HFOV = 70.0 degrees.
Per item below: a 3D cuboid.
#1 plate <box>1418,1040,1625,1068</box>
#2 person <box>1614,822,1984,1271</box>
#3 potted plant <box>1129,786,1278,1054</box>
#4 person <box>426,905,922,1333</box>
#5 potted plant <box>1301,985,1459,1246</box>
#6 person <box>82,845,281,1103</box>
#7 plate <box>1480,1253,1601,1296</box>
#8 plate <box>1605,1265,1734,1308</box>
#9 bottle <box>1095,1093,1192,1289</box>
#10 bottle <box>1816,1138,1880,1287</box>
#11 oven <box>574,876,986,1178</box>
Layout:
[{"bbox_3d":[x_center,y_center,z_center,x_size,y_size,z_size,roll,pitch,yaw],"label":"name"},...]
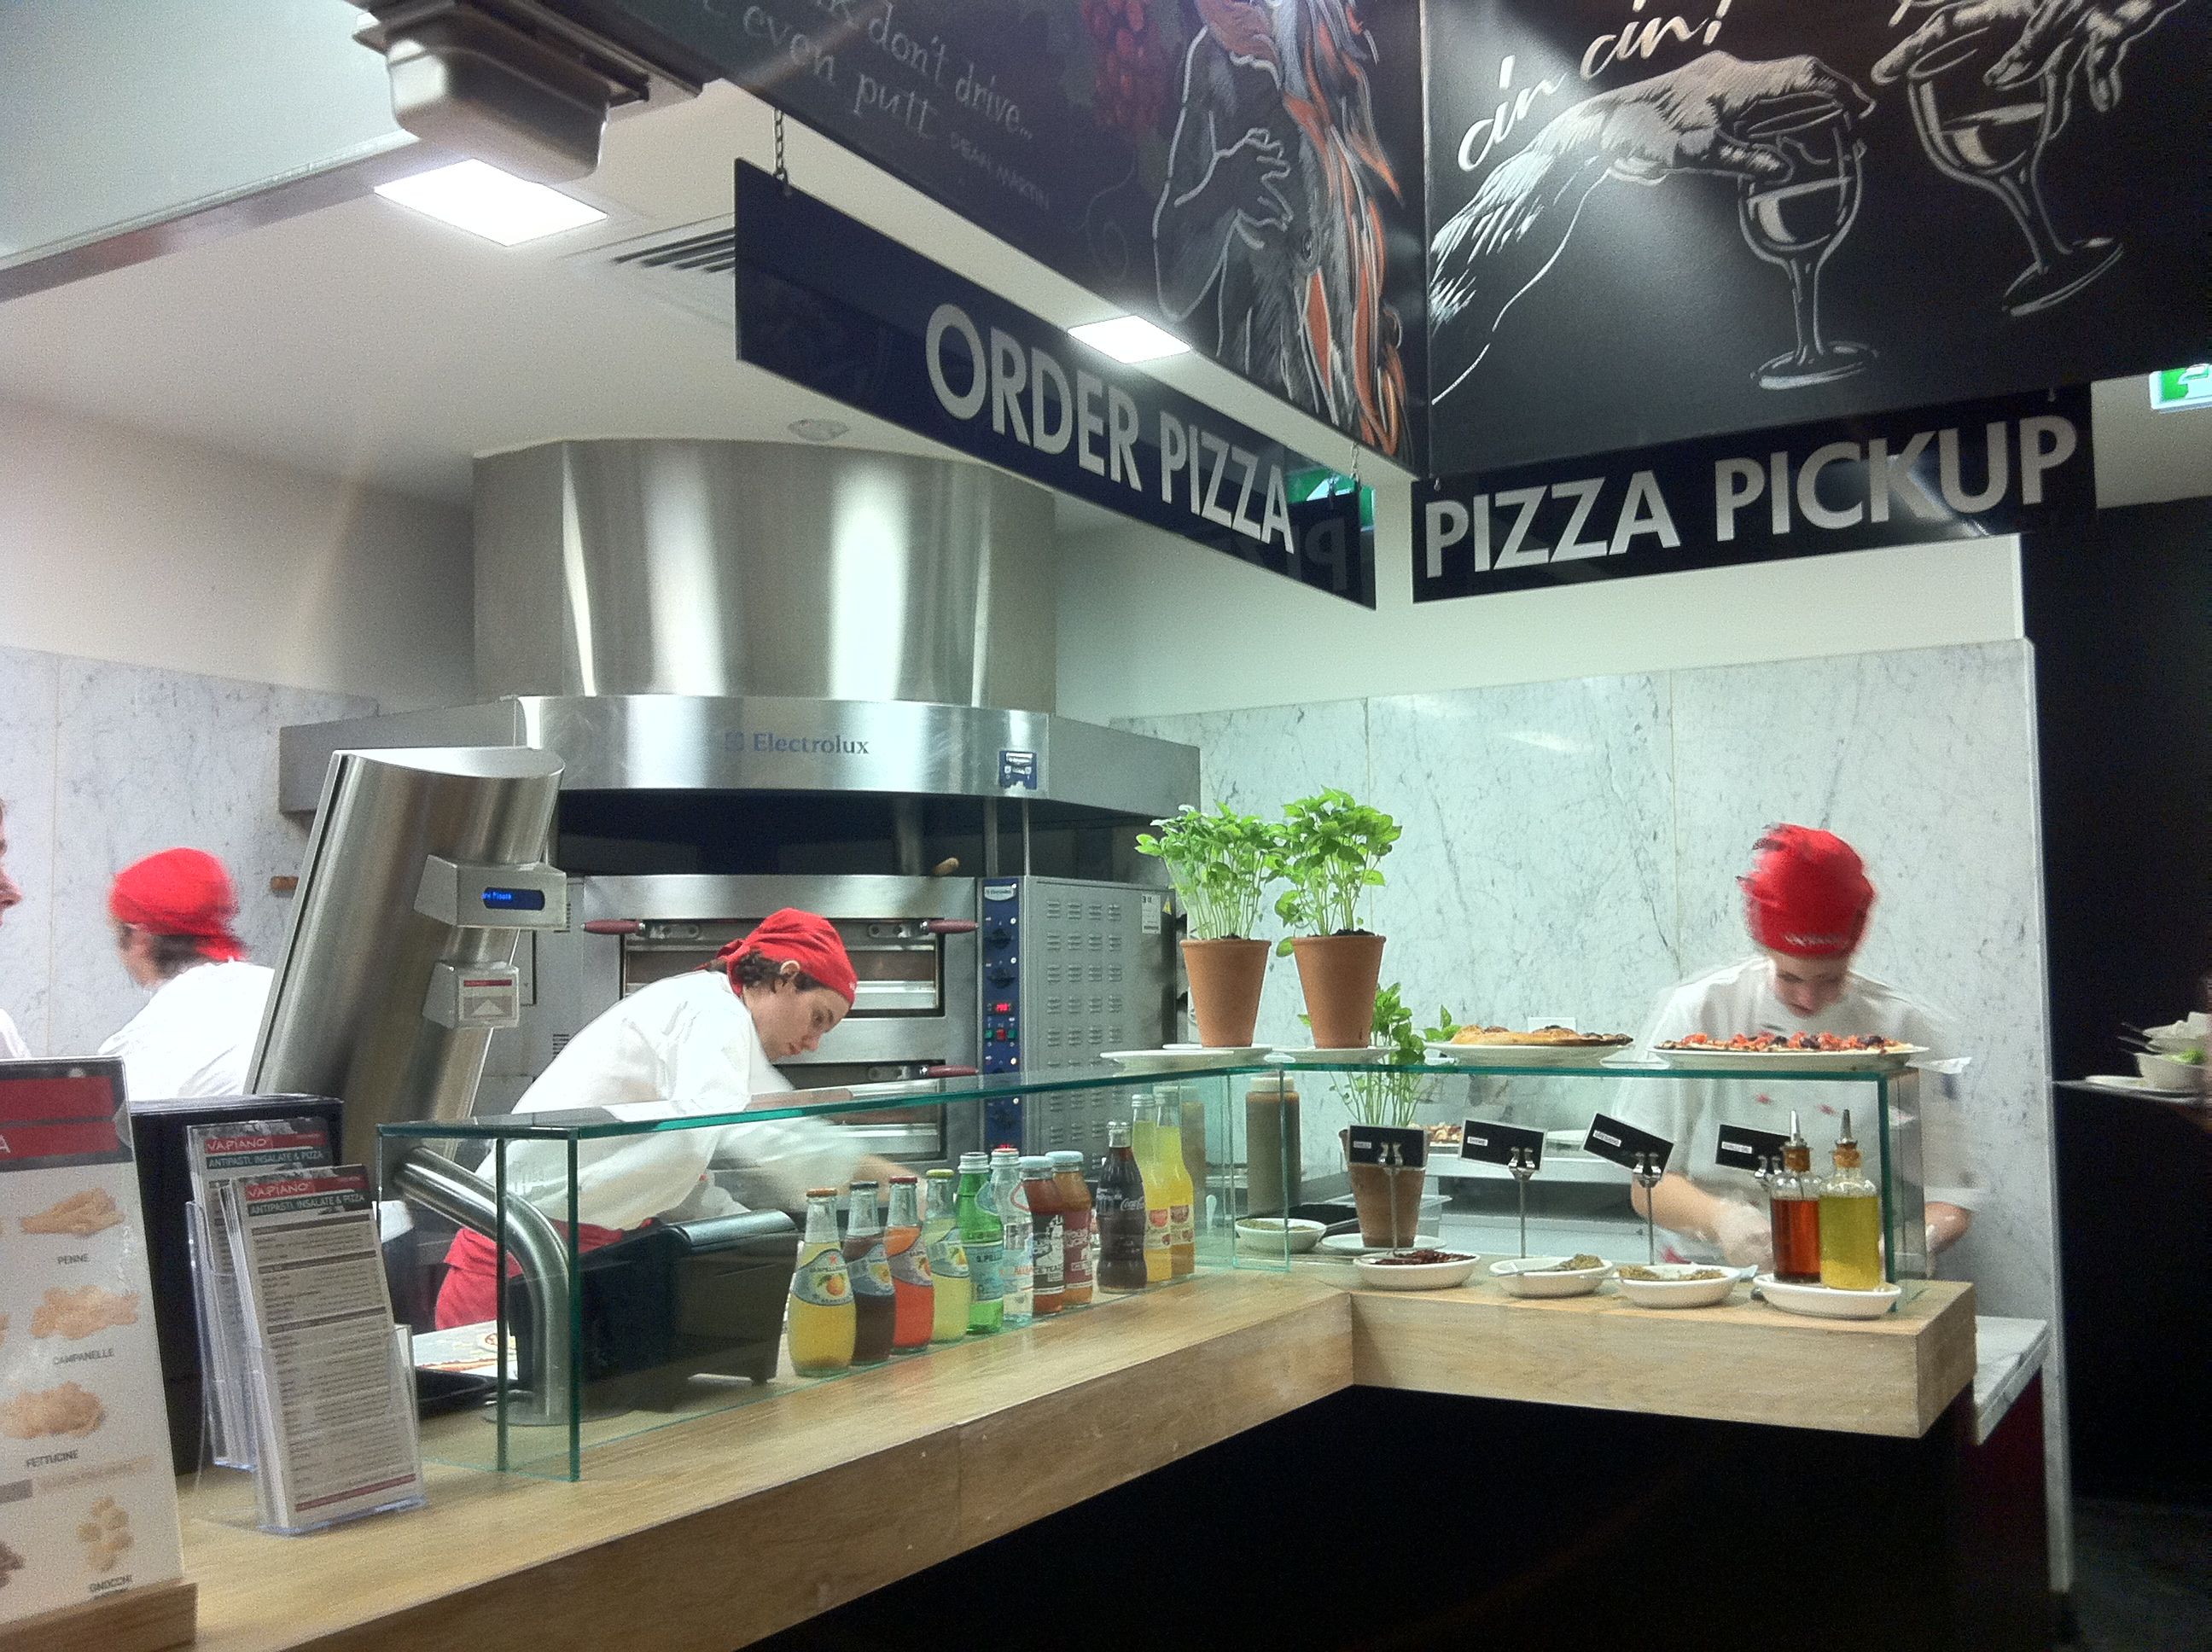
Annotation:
[{"bbox_3d":[0.626,0.347,2.457,0.337,0.038,0.190,-3,-3,35],"label":"plate"},{"bbox_3d":[1.153,0.445,2.678,0.598,0.778,0.555,2,8,9],"label":"person"},{"bbox_3d":[0.196,0.174,2.609,0.284,0.369,0.236,3,-10,-26],"label":"potted plant"},{"bbox_3d":[-0.608,0.341,2.313,0.541,0.393,1.458,-1,-2,-13],"label":"person"},{"bbox_3d":[0.465,0.501,2.557,0.196,0.364,0.177,4,3,24],"label":"potted plant"},{"bbox_3d":[-2.239,0.323,3.844,0.287,0.567,1.213,0,-3,-33],"label":"person"},{"bbox_3d":[0.668,0.680,2.416,0.190,0.064,0.082,-3,-3,34],"label":"plate"},{"bbox_3d":[0.838,0.673,2.330,0.184,0.054,0.102,-2,-2,16],"label":"plate"},{"bbox_3d":[0.070,0.558,2.430,0.049,0.289,0.217,-4,-3,36],"label":"bottle"},{"bbox_3d":[1.032,0.531,2.179,0.080,0.214,0.059,-3,-3,23],"label":"bottle"},{"bbox_3d":[-0.950,0.487,4.423,1.131,0.972,0.748,-8,8,-29],"label":"oven"}]
